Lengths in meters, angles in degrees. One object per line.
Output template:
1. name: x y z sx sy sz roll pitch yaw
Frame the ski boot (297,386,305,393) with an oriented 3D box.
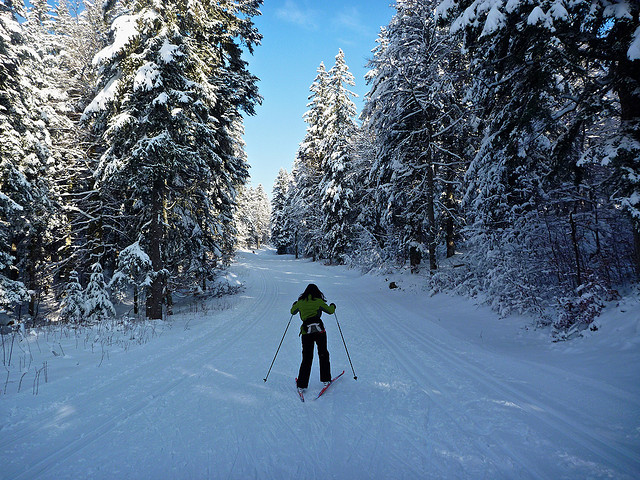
1. ski boot: -0.543 4.394 14.799 0.203 0.125 0.189 -1 5 -3
